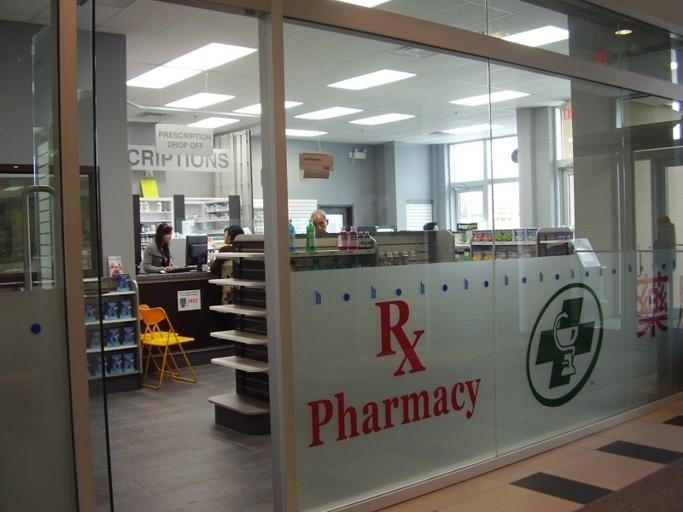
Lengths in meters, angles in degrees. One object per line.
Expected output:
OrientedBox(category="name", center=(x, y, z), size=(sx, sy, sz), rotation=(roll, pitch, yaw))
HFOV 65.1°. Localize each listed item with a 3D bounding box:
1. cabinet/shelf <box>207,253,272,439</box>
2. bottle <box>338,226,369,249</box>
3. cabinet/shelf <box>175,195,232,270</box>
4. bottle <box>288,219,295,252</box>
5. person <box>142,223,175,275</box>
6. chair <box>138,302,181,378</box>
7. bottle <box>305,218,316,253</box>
OrientedBox(category="cabinet/shelf", center=(-0.953, 0.554, 5.205), size=(0.650, 1.268, 0.422), rotation=(4, 10, 29))
OrientedBox(category="bottle", center=(0.075, -0.107, 3.548), size=(0.260, 0.166, 0.143), rotation=(-5, 8, -36))
OrientedBox(category="cabinet/shelf", center=(-2.892, -0.511, 11.002), size=(1.558, 1.524, 0.846), rotation=(2, 3, 44))
OrientedBox(category="bottle", center=(-0.315, -0.125, 3.292), size=(0.048, 0.194, 0.023), rotation=(-2, 3, -24))
OrientedBox(category="person", center=(-2.765, -0.126, 7.919), size=(0.427, 0.695, 0.752), rotation=(-2, 3, -19))
OrientedBox(category="chair", center=(-2.288, 1.088, 6.653), size=(0.467, 0.954, 0.512), rotation=(1, 2, 30))
OrientedBox(category="bottle", center=(-0.202, -0.125, 3.354), size=(0.070, 0.194, 0.017), rotation=(-3, 3, -32))
